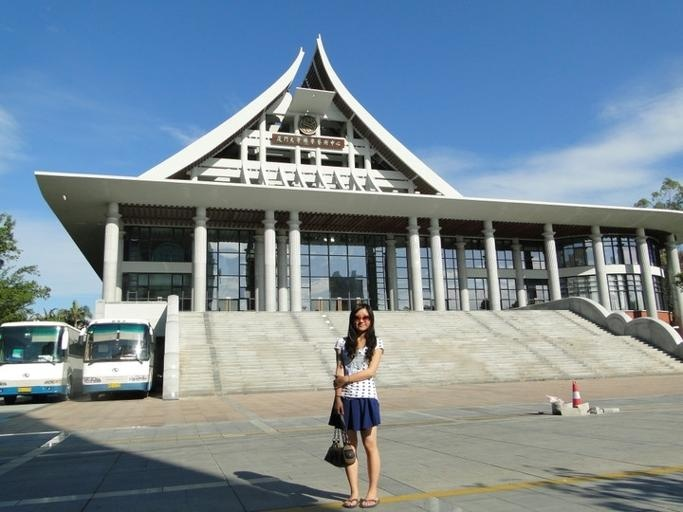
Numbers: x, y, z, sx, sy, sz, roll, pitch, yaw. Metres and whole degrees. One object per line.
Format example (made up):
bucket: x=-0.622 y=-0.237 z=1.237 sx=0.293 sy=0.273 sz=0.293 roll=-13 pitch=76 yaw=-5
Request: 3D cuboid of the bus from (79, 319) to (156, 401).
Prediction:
bus: x=-9.145 y=4.078 z=17.752 sx=2.444 sy=2.636 sz=1.731 roll=2 pitch=12 yaw=-14

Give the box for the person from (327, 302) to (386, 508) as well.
person: x=0.176 y=1.576 z=4.541 sx=0.579 sy=2.089 sz=0.838 roll=5 pitch=11 yaw=-3
